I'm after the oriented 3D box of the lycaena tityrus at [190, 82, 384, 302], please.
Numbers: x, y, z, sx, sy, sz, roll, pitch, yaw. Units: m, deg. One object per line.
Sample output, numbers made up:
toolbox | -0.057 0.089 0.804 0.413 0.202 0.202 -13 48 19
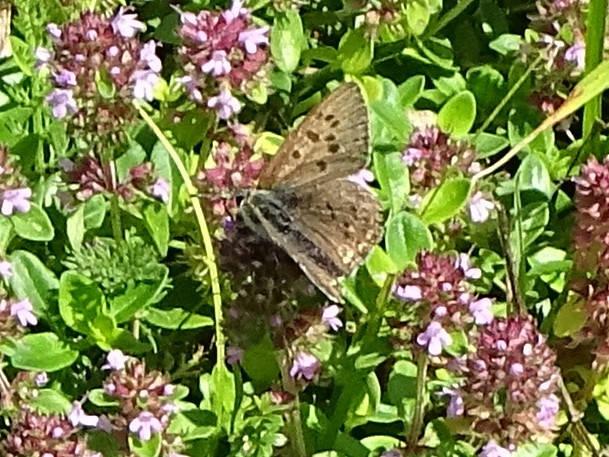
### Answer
lycaena tityrus | 0.007 -0.032 1.337 0.298 0.486 0.232 -3 59 4
